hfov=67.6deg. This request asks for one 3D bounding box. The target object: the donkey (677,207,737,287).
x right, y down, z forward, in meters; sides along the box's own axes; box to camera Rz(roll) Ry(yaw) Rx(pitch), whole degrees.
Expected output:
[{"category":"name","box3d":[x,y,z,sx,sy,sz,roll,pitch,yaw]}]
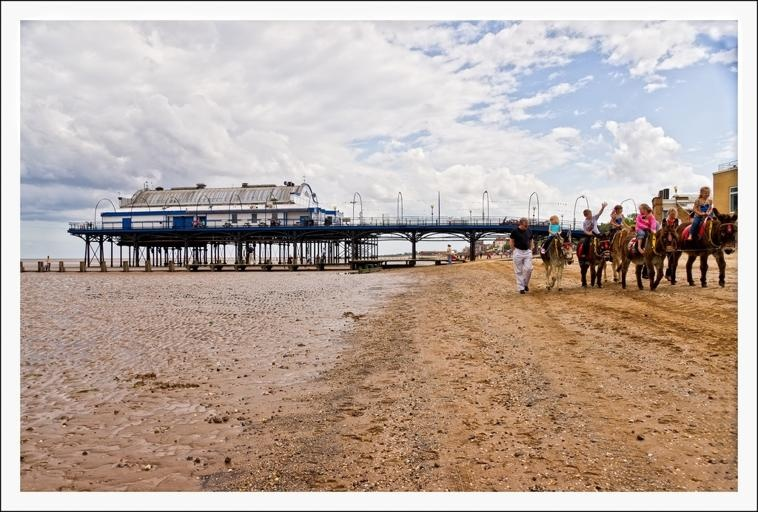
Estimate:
[{"category":"donkey","box3d":[10.430,-0.254,17.902,1.004,2.314,3.519,-4,1,8]}]

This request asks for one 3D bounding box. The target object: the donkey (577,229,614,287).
[{"category":"donkey","box3d":[8.089,0.176,21.185,1.037,1.967,3.278,-1,-2,6]}]

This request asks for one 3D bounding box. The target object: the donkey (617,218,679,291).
[{"category":"donkey","box3d":[8.576,-0.055,18.295,1.674,2.110,1.836,3,6,2]}]
